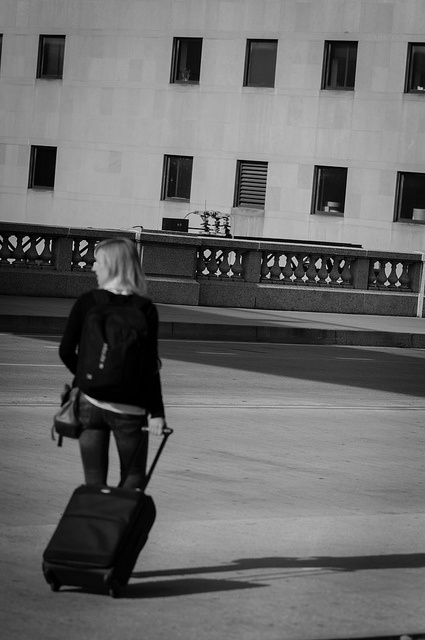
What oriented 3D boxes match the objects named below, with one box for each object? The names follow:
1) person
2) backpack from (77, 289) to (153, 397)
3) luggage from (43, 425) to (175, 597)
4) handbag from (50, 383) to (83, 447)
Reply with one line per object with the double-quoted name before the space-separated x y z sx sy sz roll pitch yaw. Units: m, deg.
"person" -0.396 0.304 4.084 0.418 1.238 0.410 7 12 12
"backpack" -0.397 0.081 3.873 0.254 0.390 0.220 4 32 -11
"luggage" -0.371 0.725 3.913 0.354 0.306 0.729 10 40 27
"handbag" -0.574 0.377 4.110 0.102 0.220 0.221 9 -2 2
